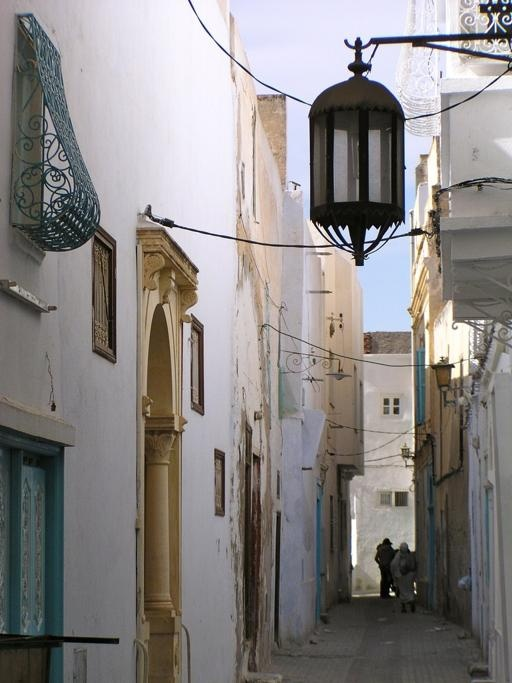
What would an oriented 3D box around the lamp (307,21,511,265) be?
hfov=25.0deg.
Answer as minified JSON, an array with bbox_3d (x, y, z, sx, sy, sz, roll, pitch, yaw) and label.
[{"bbox_3d":[0.678,-1.113,5.766,0.865,1.446,1.162,2,-11,-10],"label":"lamp"}]

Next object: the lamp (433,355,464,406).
[{"bbox_3d":[2.990,0.635,18.566,0.266,0.863,0.362,4,-34,0],"label":"lamp"}]

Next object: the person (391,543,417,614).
[{"bbox_3d":[3.269,5.247,25.774,0.488,1.503,2.163,-2,-11,6],"label":"person"}]
